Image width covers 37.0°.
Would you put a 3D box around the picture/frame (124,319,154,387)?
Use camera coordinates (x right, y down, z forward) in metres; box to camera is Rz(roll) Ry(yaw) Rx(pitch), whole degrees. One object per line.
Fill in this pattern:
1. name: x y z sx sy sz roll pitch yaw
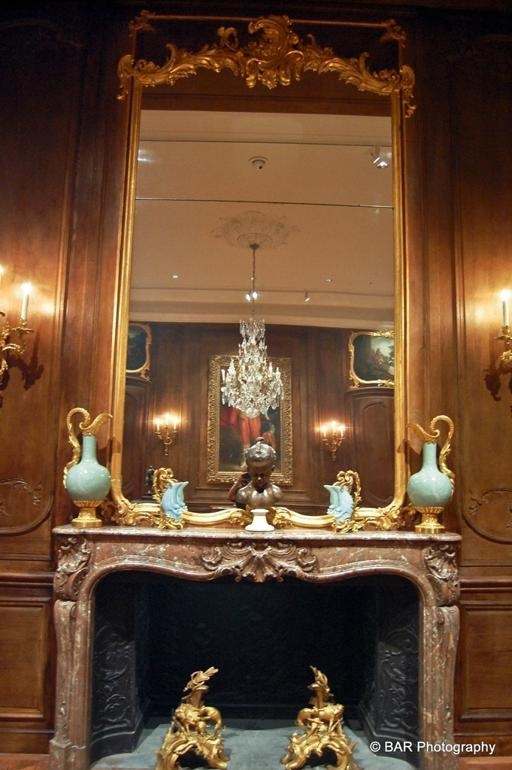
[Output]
1. picture/frame: -0.545 -0.155 3.374 0.152 0.242 0.012 1 14 -20

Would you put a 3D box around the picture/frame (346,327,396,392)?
1. picture/frame: 0.499 -0.102 3.392 0.309 0.315 0.025 1 -10 -8
